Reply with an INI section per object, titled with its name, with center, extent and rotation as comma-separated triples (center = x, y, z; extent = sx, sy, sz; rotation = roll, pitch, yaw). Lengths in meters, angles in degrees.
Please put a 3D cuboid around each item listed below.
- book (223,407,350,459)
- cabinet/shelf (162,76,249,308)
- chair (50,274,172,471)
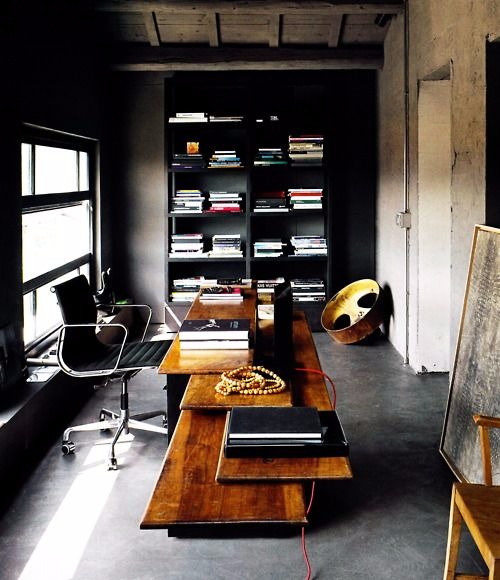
[book]
center = 0.096, 0.389, 1.376
extent = 0.328, 0.078, 0.269
rotation = -1, 6, 0
[cabinet/shelf]
center = -0.493, -1.152, 5.833
extent = 0.908, 2.701, 0.312
rotation = 1, 35, -3
[chair]
center = -0.837, 0.500, 3.154
extent = 0.671, 1.124, 0.761
rotation = 0, 6, 4
